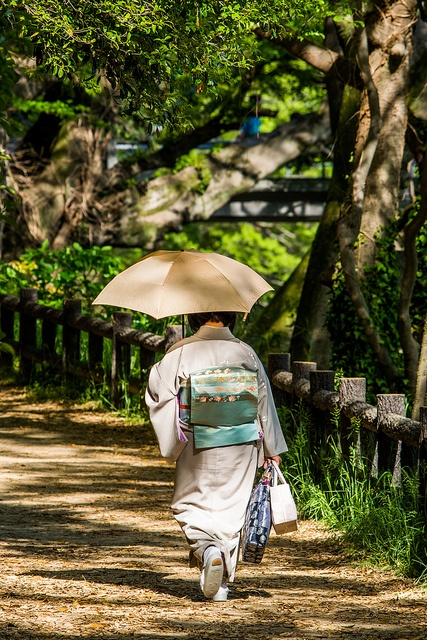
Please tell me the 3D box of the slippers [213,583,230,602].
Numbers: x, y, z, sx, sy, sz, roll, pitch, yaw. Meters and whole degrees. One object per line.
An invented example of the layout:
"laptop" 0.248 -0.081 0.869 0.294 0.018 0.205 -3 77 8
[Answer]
"slippers" 0.036 1.369 6.203 0.041 0.053 0.124 2 8 4

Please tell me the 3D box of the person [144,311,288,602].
"person" 0.009 0.621 6.337 0.492 1.321 0.585 9 8 40
